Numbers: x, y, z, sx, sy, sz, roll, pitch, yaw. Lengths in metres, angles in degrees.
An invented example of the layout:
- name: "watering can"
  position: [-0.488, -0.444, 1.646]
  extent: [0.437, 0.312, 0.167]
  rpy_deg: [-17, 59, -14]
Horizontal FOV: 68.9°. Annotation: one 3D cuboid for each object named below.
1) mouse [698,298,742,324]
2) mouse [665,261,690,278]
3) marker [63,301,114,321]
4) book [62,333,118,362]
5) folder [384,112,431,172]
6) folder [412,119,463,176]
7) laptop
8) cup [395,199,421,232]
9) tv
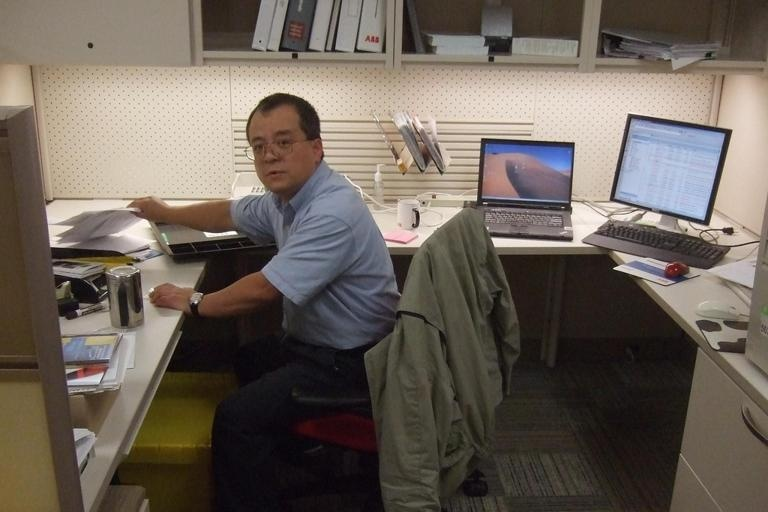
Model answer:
- name: "mouse"
  position: [1.192, 0.192, 1.977]
  extent: [0.128, 0.040, 0.069]
  rpy_deg: [-3, 18, 3]
- name: "mouse"
  position: [1.188, 0.057, 2.260]
  extent: [0.083, 0.042, 0.061]
  rpy_deg: [-10, 29, -9]
- name: "marker"
  position: [-1.046, 0.180, 1.978]
  extent: [0.042, 0.037, 0.184]
  rpy_deg: [-2, 15, 29]
- name: "book"
  position: [-0.885, 0.275, 1.661]
  extent: [0.127, 0.029, 0.126]
  rpy_deg: [0, 13, -8]
- name: "folder"
  position: [0.126, -0.587, 2.772]
  extent: [0.071, 0.312, 0.169]
  rpy_deg: [-18, 4, -22]
- name: "folder"
  position: [0.244, -0.552, 2.812]
  extent: [0.084, 0.281, 0.212]
  rpy_deg: [-10, 20, 29]
- name: "laptop"
  position: [0.673, -0.328, 2.683]
  extent: [0.465, 0.436, 0.395]
  rpy_deg: [3, 16, 13]
- name: "cup"
  position: [0.100, -0.185, 2.626]
  extent: [0.090, 0.118, 0.143]
  rpy_deg: [0, 20, -4]
- name: "tv"
  position: [1.379, -0.393, 2.644]
  extent: [0.497, 0.435, 0.049]
  rpy_deg: [22, 19, 34]
